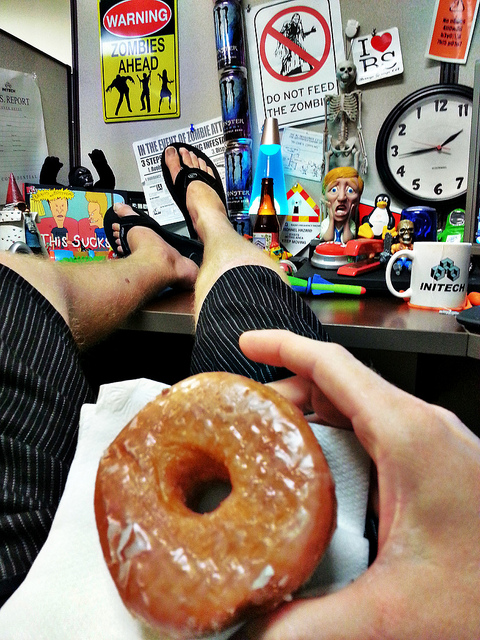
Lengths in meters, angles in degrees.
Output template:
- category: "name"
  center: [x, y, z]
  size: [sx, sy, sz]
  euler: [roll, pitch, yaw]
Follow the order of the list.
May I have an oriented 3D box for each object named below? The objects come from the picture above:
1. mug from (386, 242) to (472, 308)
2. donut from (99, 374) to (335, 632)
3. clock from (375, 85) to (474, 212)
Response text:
- category: "mug"
  center: [0.243, -0.062, 0.594]
  size: [0.103, 0.084, 0.039]
  euler: [11, 27, 28]
- category: "donut"
  center: [-0.017, 0.088, 0.243]
  size: [0.116, 0.087, 0.103]
  euler: [-11, 26, -16]
- category: "clock"
  center: [0.372, -0.349, 0.937]
  size: [0.180, 0.237, 0.076]
  euler: [5, 25, 17]
